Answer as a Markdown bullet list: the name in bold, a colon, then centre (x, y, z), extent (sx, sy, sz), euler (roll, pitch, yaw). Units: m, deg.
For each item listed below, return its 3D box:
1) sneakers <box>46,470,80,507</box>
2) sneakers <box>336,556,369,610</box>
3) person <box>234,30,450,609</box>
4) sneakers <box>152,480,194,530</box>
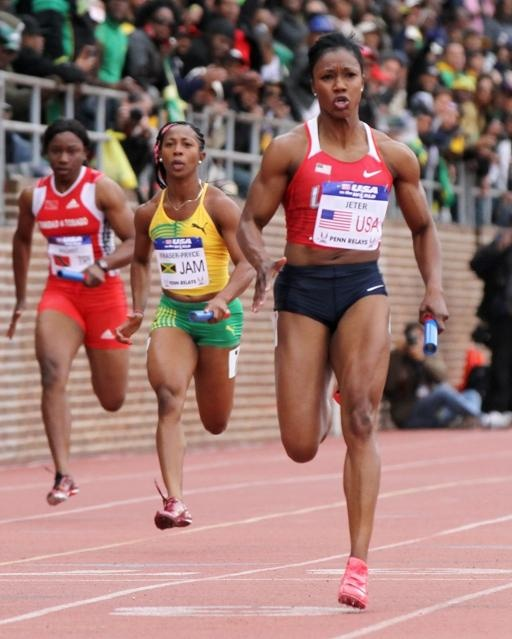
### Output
- **sneakers**: centre (-1.102, 0.948, 5.091), extent (0.113, 0.127, 0.294), euler (-23, -1, 14)
- **sneakers**: centre (0.313, 0.845, 2.874), extent (0.083, 0.121, 0.176), euler (8, 9, 8)
- **person**: centre (0.331, -0.207, 3.311), extent (0.785, 1.699, 0.783), euler (6, 10, -4)
- **sneakers**: centre (-0.387, 0.878, 4.230), extent (0.092, 0.170, 0.199), euler (-19, -27, 27)
